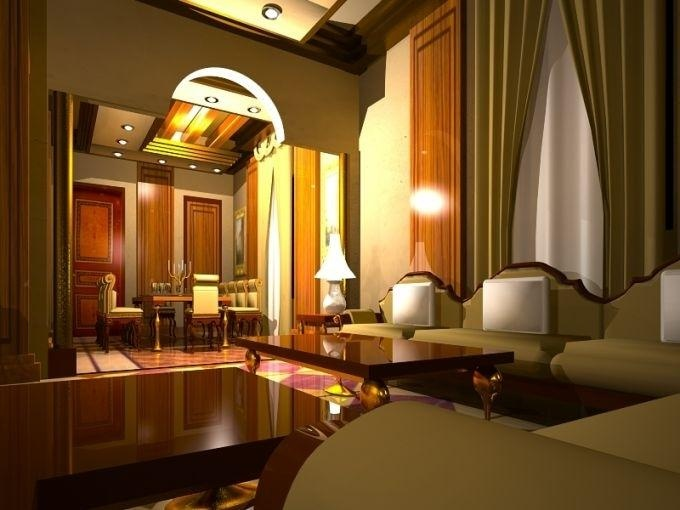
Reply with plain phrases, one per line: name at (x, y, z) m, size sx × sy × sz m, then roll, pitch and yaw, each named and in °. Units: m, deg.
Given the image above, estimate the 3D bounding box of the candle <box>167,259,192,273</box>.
candle at (-2.590, 0.178, 8.243) m, size 0.256 × 0.289 × 0.178 m, roll -2°, pitch 4°, yaw -30°

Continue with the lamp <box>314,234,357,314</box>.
lamp at (-0.050, 0.194, 4.832) m, size 0.373 × 0.739 × 0.372 m, roll 5°, pitch -8°, yaw -44°
